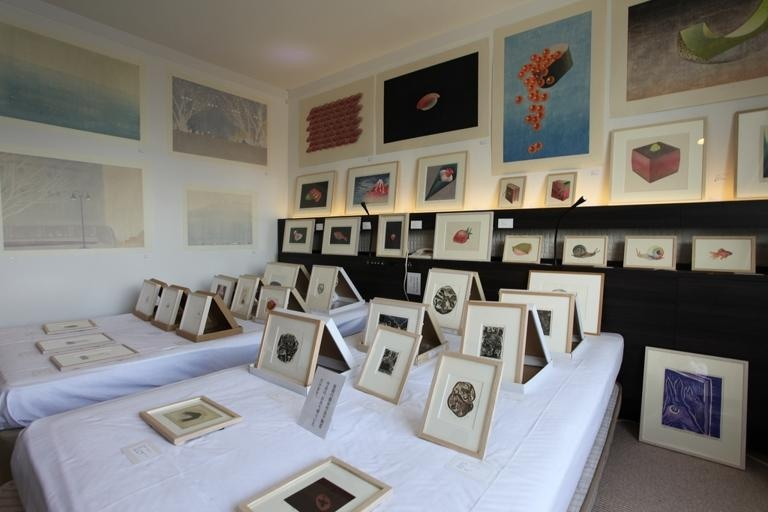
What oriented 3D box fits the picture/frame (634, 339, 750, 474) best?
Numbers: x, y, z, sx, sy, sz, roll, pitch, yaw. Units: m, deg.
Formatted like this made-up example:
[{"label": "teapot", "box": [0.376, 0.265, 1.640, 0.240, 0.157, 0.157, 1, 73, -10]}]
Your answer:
[{"label": "picture/frame", "box": [2.296, 1.096, 3.370, 0.641, 0.733, 0.250, 3, 4, 32]}]
